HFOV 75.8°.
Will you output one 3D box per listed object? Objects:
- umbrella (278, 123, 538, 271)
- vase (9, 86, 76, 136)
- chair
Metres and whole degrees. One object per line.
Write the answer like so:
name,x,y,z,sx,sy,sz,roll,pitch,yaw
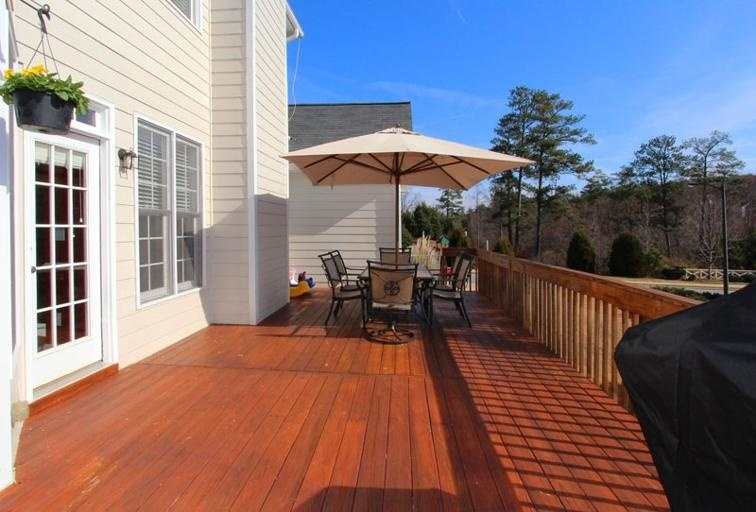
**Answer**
umbrella,0.322,-0.775,6.757,2.747,1.984,2.432,2,12,7
vase,-2.492,-1.052,3.641,0.295,0.212,0.308,-2,-5,15
chair,0.246,0.493,6.529,1.926,1.120,1.628,-1,12,-6
